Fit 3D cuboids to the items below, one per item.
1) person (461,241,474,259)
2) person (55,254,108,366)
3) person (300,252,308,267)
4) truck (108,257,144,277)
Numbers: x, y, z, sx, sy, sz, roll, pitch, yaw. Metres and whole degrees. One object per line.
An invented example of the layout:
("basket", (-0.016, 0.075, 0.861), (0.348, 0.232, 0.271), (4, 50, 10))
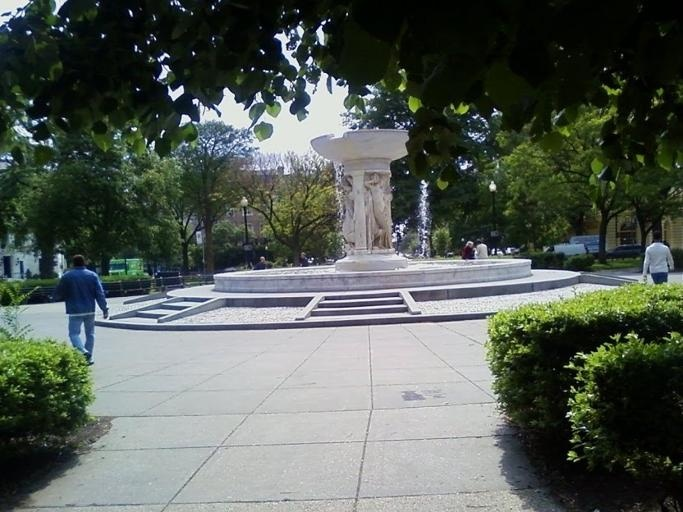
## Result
("person", (5.963, -0.241, 27.072), (0.425, 0.812, 1.717), (-3, 2, 16))
("person", (-4.745, 0.953, 10.548), (0.719, 1.534, 1.218), (-4, 2, -16))
("person", (-2.752, 0.247, 41.831), (0.872, 1.171, 2.024), (1, -3, -7))
("truck", (-21.646, 1.177, 57.810), (2.562, 1.424, 1.693), (-1, 3, 6))
